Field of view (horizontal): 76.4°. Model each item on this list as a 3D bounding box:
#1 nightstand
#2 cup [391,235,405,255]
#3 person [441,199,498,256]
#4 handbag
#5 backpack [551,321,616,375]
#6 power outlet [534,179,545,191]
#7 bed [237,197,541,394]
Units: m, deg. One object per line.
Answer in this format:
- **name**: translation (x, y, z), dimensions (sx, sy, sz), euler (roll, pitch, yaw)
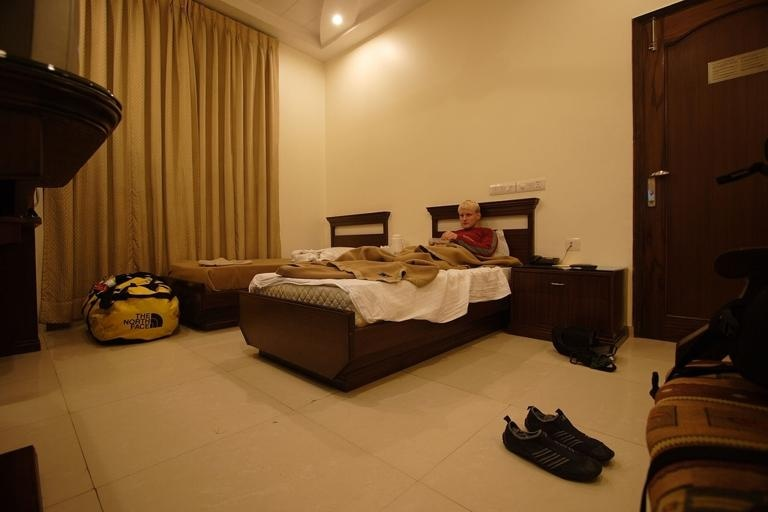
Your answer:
- **nightstand**: translation (1.440, 0.456, 4.091), dimensions (0.800, 0.598, 0.460), euler (4, -14, 13)
- **cup**: translation (0.145, -0.117, 5.162), dimensions (0.181, 0.199, 0.154), euler (5, -7, -30)
- **person**: translation (0.768, -0.229, 4.667), dimensions (0.390, 0.607, 0.720), euler (5, -6, -41)
- **handbag**: translation (-2.002, 0.420, 3.961), dimensions (0.464, 0.392, 0.721), euler (1, 0, -39)
- **backpack**: translation (1.453, 0.674, 3.532), dimensions (0.246, 0.129, 0.314), euler (-2, 5, -30)
- **power outlet**: translation (1.397, -0.625, 4.373), dimensions (0.079, 0.080, 0.080), euler (1, 1, 45)
- **bed**: translation (0.112, 0.347, 3.981), dimensions (1.337, 1.150, 2.119), euler (1, 2, 44)
